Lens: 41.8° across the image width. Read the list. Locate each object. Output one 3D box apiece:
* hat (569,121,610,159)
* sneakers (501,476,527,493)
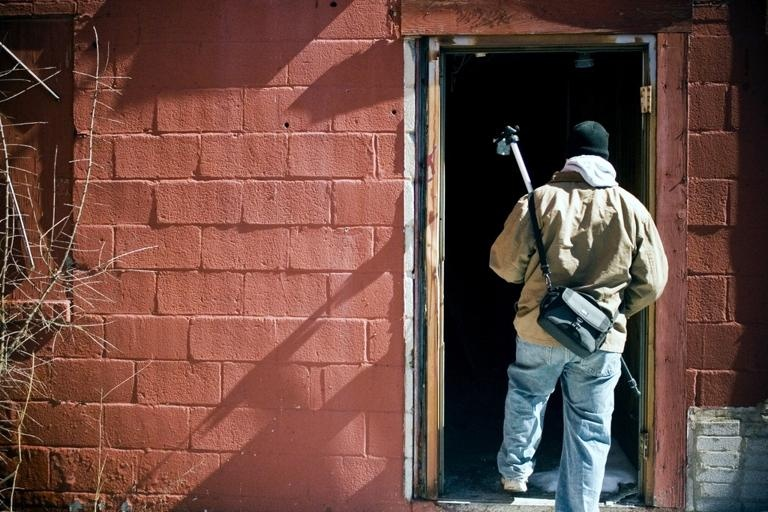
[{"bbox_3d":[1.429,-0.821,7.003,0.203,0.245,0.288,4,16,2],"label":"hat"},{"bbox_3d":[0.938,1.619,7.081,0.103,0.131,0.281,-1,-3,18],"label":"sneakers"}]
